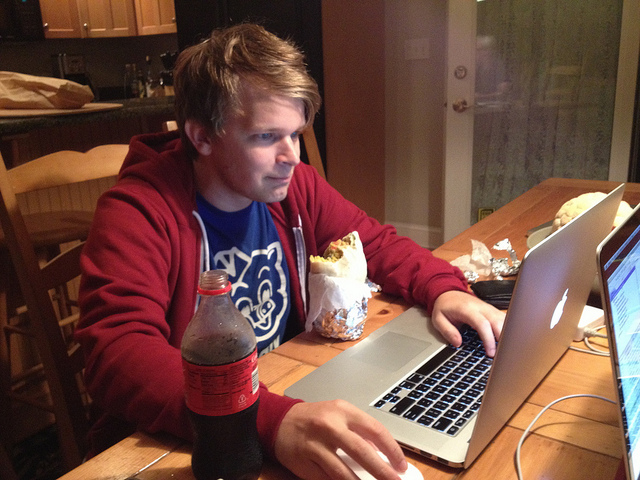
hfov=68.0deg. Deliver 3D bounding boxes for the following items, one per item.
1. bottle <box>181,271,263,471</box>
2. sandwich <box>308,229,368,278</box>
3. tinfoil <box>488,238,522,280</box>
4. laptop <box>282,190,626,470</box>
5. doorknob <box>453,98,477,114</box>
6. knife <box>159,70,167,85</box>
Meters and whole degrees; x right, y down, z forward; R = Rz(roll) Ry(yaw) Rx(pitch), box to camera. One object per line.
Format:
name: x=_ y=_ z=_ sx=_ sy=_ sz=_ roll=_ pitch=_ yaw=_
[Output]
bottle: x=-0.137 y=0.210 z=0.670 sx=0.104 sy=0.270 sz=0.080 roll=-7 pitch=20 yaw=-15
sandwich: x=0.035 y=0.028 z=1.082 sx=0.101 sy=0.059 sz=0.112 roll=-26 pitch=23 yaw=-21
tinfoil: x=0.511 y=0.060 z=1.320 sx=0.080 sy=0.114 sz=0.054 roll=-19 pitch=23 yaw=-1
laptop: x=0.224 y=0.205 z=0.880 sx=0.456 sy=0.367 sz=0.569 roll=14 pitch=31 yaw=39
doorknob: x=0.998 y=-0.921 z=3.278 sx=0.122 sy=0.090 sz=0.047 roll=18 pitch=24 yaw=16
knife: x=-1.323 y=-1.382 z=4.040 sx=0.016 sy=0.070 sz=0.070 roll=-29 pitch=57 yaw=-21
